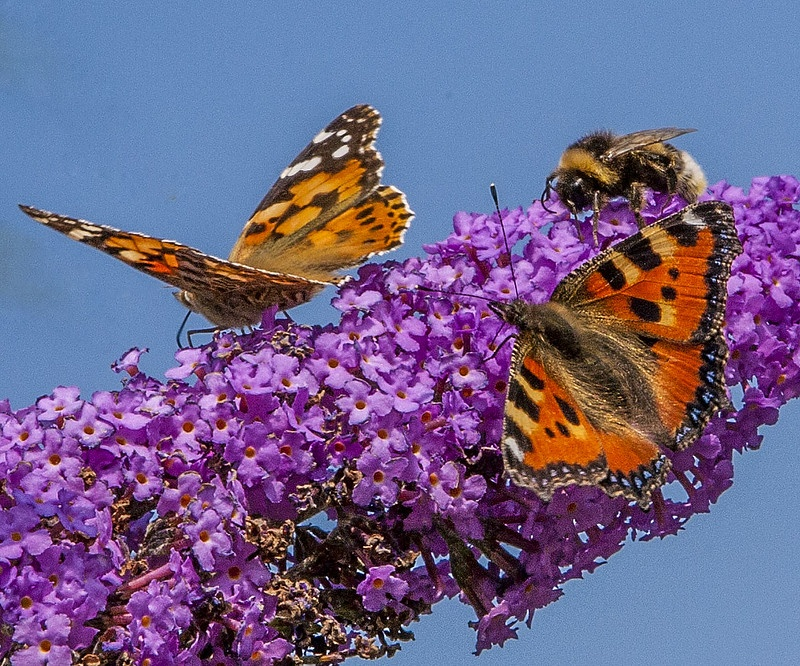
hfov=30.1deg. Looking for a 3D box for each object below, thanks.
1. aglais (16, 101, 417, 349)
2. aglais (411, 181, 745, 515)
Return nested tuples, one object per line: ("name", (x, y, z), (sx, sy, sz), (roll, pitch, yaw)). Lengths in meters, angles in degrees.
("aglais", (-0.776, -0.377, 5.890), (0.921, 1.241, 1.407), (6, 10, 45))
("aglais", (0.622, 0.054, 5.158), (1.080, 0.392, 1.296), (33, 62, 4))
